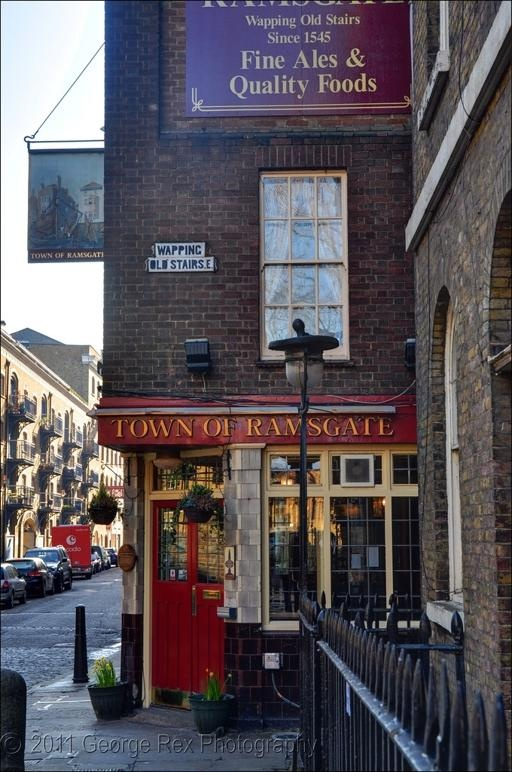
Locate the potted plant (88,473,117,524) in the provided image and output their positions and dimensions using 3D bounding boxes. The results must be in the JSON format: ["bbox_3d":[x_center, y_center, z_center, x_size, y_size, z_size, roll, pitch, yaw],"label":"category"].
[{"bbox_3d":[-1.566,1.142,14.225,0.278,0.550,0.298,1,1,-31],"label":"potted plant"}]

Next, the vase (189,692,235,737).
[{"bbox_3d":[-0.394,2.836,12.056,0.281,0.304,0.285,-11,-17,40],"label":"vase"}]

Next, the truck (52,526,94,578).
[{"bbox_3d":[-6.020,5.887,45.710,0.982,2.078,2.126,-1,-4,-3],"label":"truck"}]

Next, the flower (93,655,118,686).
[{"bbox_3d":[-1.415,2.658,13.024,0.202,0.286,0.705,-1,-12,-6],"label":"flower"}]

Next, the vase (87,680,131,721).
[{"bbox_3d":[-1.321,2.908,12.918,0.288,0.346,0.707,-7,-12,27],"label":"vase"}]

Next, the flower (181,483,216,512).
[{"bbox_3d":[-0.527,0.999,12.688,0.305,0.237,0.242,-2,-10,-3],"label":"flower"}]
